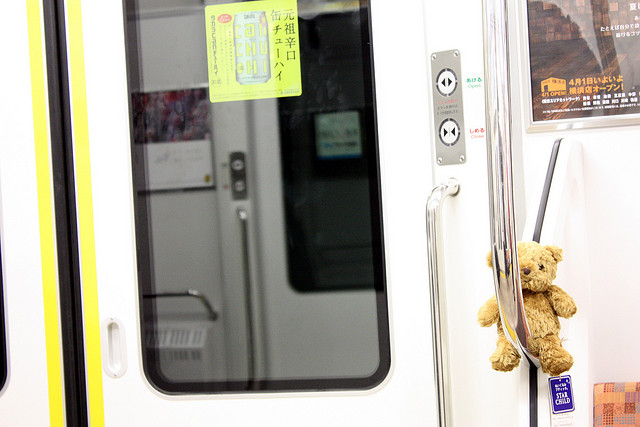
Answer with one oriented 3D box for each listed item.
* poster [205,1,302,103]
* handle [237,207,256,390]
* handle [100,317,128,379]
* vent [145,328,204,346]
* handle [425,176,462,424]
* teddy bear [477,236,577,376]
[{"bbox_3d":[-0.223,-0.591,2.381,0.483,0.357,0.029,-3,1,5],"label":"poster"},{"bbox_3d":[-0.242,0.309,2.395,0.079,0.587,0.093,0,-1,13],"label":"handle"},{"bbox_3d":[-0.762,0.500,2.456,0.081,0.252,0.091,-2,-1,0],"label":"handle"},{"bbox_3d":[-0.529,0.453,2.432,0.144,0.032,0.080,3,34,4],"label":"vent"},{"bbox_3d":[0.408,0.291,2.249,0.124,0.822,0.215,-3,3,31],"label":"handle"},{"bbox_3d":[0.651,0.290,2.058,0.314,0.439,0.296,-5,3,-5],"label":"teddy bear"}]
